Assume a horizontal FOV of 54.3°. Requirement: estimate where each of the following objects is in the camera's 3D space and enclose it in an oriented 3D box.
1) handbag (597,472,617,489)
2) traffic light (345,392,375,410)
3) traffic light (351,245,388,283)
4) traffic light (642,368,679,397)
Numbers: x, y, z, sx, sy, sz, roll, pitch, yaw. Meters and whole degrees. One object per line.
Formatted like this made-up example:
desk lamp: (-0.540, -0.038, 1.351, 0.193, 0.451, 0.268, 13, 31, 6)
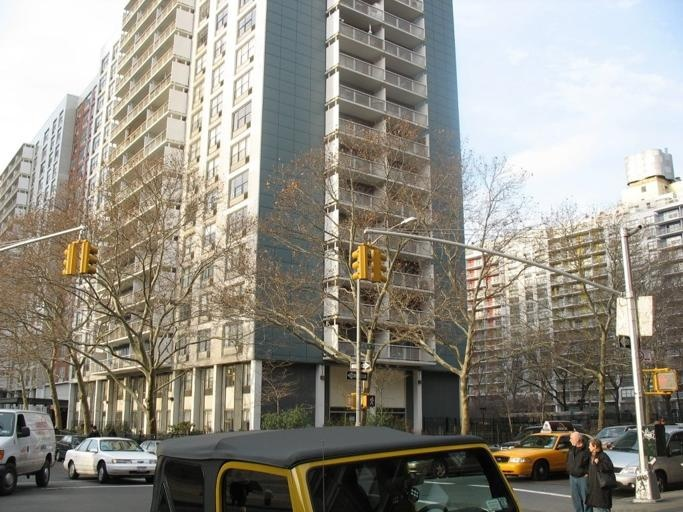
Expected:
handbag: (6.186, 5.250, 15.516, 0.338, 0.106, 0.372, -2, 5, 41)
traffic light: (0.813, 6.064, 27.699, 1.156, 0.845, 0.856, -6, -9, 31)
traffic light: (1.018, 0.345, 25.433, 0.687, 1.455, 1.539, -14, -23, 39)
traffic light: (9.747, 3.833, 20.377, 0.572, 0.812, 2.369, -1, -13, 17)
